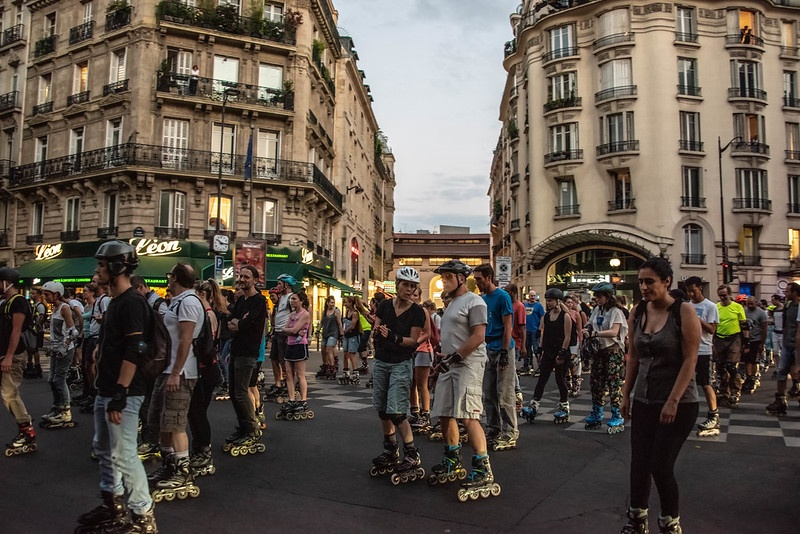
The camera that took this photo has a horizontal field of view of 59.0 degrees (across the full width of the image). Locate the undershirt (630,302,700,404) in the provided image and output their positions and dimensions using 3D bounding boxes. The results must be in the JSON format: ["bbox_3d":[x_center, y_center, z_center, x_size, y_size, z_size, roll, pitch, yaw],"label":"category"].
[{"bbox_3d":[3.688,1.158,10.143,0.974,1.450,0.772,-6,-13,41],"label":"undershirt"}]

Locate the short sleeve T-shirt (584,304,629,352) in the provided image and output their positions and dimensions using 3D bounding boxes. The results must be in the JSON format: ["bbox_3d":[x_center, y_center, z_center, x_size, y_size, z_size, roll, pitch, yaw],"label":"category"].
[{"bbox_3d":[4.080,1.234,14.008,0.476,0.792,0.762,23,-30,-33],"label":"short sleeve T-shirt"}]

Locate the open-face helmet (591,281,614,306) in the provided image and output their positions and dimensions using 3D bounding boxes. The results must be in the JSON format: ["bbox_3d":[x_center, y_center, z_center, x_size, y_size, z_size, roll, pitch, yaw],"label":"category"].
[{"bbox_3d":[4.067,0.554,14.188,0.513,0.584,0.410,-1,0,10],"label":"open-face helmet"}]

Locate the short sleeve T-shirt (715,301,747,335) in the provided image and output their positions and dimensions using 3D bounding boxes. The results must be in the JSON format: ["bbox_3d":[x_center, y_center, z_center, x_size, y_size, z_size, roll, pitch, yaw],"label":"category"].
[{"bbox_3d":[7.456,1.176,16.034,0.429,0.698,0.720,7,-12,-30],"label":"short sleeve T-shirt"}]
